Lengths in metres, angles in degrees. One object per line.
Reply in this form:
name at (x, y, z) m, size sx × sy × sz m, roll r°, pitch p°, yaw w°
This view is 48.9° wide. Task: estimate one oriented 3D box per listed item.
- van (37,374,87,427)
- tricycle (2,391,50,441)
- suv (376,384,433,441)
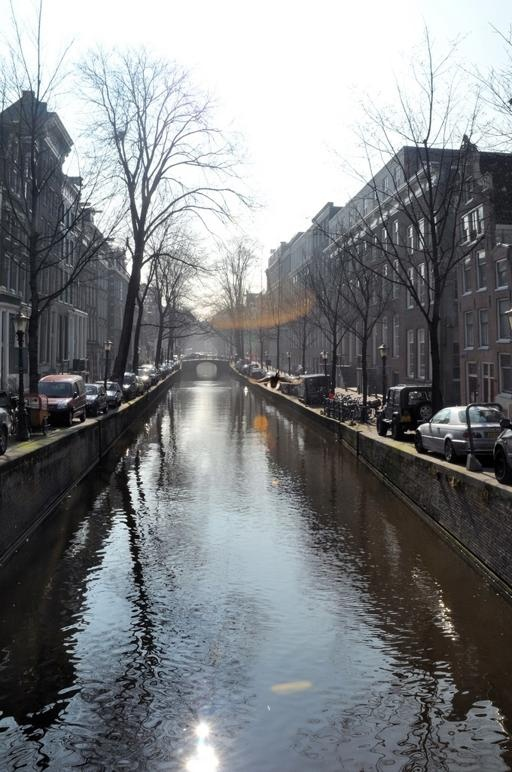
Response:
van at (-8.348, 0.647, 23.740) m, size 1.570 × 2.177 × 3.713 m, roll -3°, pitch 0°, yaw -5°
tricycle at (-7.946, 0.956, 18.927) m, size 1.641 × 1.362 × 1.294 m, roll -1°, pitch 4°, yaw -7°
suv at (5.906, 1.000, 22.288) m, size 1.477 × 2.238 × 3.208 m, roll 2°, pitch 0°, yaw -8°
